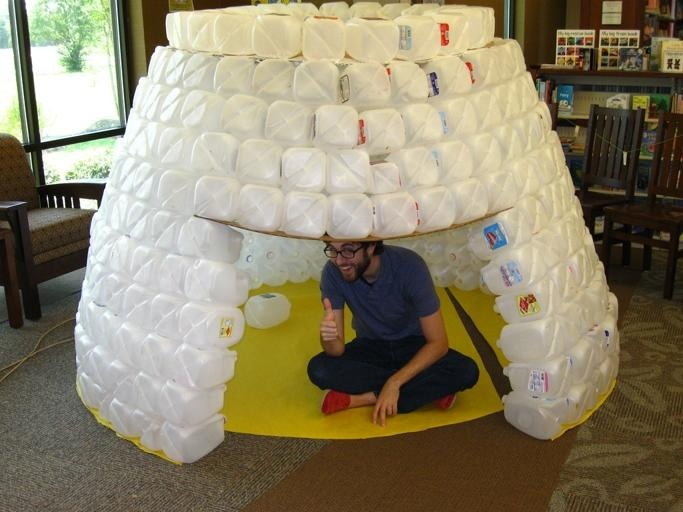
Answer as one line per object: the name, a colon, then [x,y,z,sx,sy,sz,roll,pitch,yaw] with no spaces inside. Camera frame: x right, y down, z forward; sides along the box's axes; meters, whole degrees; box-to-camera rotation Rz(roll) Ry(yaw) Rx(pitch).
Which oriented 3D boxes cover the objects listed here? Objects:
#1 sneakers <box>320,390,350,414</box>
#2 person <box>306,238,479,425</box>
sneakers: [-0.013,0.705,2.606,0.065,0.078,0.190,8,16,41]
person: [0.232,0.250,2.543,0.778,0.933,0.724,3,23,33]
